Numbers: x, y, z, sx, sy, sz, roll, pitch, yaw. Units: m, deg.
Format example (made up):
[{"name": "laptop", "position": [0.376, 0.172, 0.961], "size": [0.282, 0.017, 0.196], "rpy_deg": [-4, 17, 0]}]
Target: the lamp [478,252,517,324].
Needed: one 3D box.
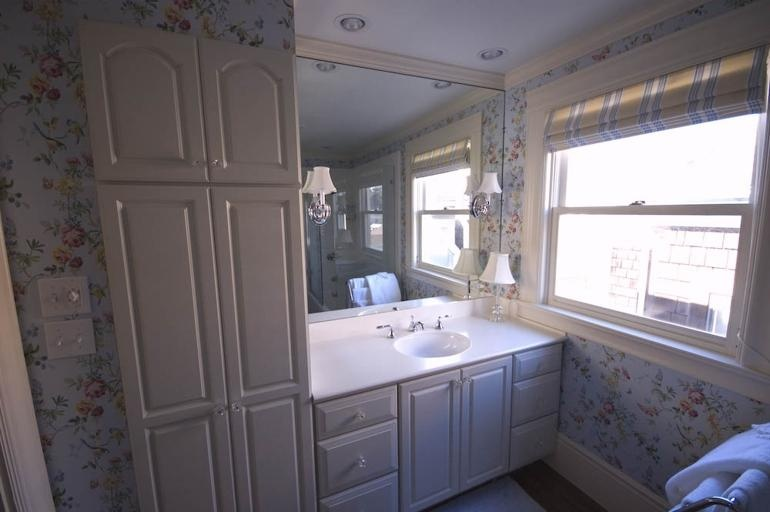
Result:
[{"name": "lamp", "position": [0.797, 0.224, 3.554], "size": [0.270, 0.451, 0.267], "rpy_deg": [1, 0, 26]}]

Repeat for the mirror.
[{"name": "mirror", "position": [0.058, -0.521, 3.315], "size": [1.689, 1.691, 0.075], "rpy_deg": [-4, 9, -29]}]

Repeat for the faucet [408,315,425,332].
[{"name": "faucet", "position": [0.220, 0.474, 3.456], "size": [0.134, 0.130, 0.062], "rpy_deg": [-1, 4, 6]}]

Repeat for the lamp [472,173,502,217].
[{"name": "lamp", "position": [0.744, -0.417, 3.651], "size": [0.222, 0.306, 0.196], "rpy_deg": [1, -8, -1]}]

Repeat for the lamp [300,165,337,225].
[{"name": "lamp", "position": [-0.432, -0.361, 3.178], "size": [0.204, 0.285, 0.193], "rpy_deg": [-1, 15, -43]}]

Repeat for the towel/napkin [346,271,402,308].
[{"name": "towel/napkin", "position": [-0.073, 0.228, 3.388], "size": [0.215, 0.283, 0.100], "rpy_deg": [-16, 45, -12]}]
